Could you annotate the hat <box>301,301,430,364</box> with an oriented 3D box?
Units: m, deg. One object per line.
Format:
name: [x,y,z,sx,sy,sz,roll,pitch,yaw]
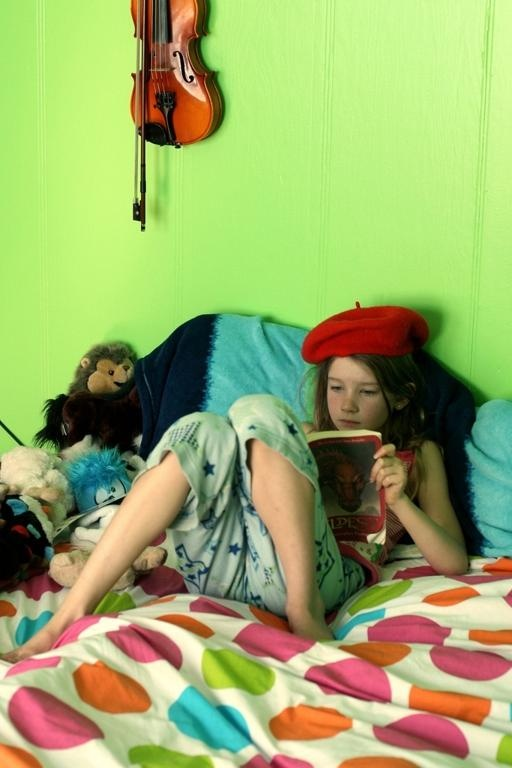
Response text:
hat: [0.231,-0.109,1.476,0.183,0.063,0.185,-11,7,-21]

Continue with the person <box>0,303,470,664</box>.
person: [0.064,0.143,1.242,0.437,0.492,0.818,-3,-5,34]
